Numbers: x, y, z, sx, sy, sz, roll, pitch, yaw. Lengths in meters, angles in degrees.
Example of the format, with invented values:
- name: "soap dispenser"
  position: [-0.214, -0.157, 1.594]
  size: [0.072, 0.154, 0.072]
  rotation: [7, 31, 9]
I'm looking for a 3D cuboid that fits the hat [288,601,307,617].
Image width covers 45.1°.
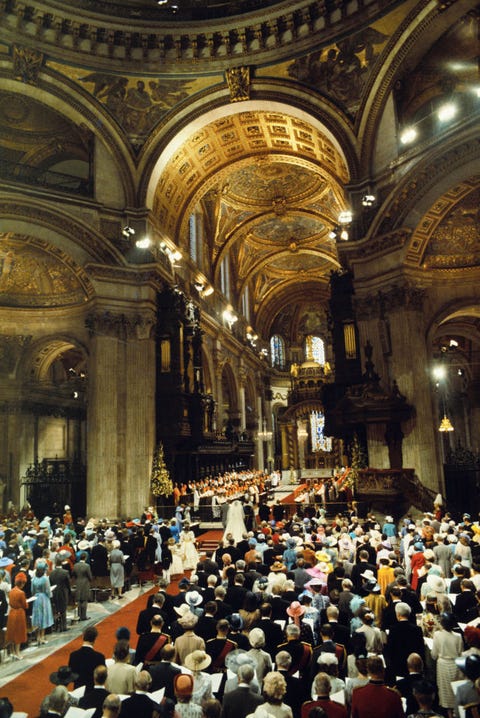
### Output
- name: "hat"
  position: [0.581, 2.627, 5.911]
  size: [0.228, 0.088, 0.249]
  rotation: [-1, -6, -1]

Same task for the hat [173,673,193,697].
- name: "hat"
  position: [-0.400, 2.359, 4.120]
  size: [0.113, 0.150, 0.206]
  rotation: [-1, -10, -12]

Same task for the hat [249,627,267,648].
- name: "hat"
  position: [0.152, 2.448, 4.975]
  size: [0.115, 0.172, 0.107]
  rotation: [-7, -10, 20]

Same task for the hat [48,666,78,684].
- name: "hat"
  position: [-1.344, 2.438, 4.389]
  size: [0.166, 0.088, 0.228]
  rotation: [12, -7, 9]

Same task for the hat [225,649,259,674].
- name: "hat"
  position: [0.007, 2.546, 4.831]
  size: [0.273, 0.114, 0.311]
  rotation: [1, -6, 26]

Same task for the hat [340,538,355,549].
- name: "hat"
  position: [1.813, 3.176, 9.827]
  size: [0.202, 0.087, 0.200]
  rotation: [0, -11, -7]

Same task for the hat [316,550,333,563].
- name: "hat"
  position: [1.342, 3.146, 8.995]
  size: [0.225, 0.072, 0.226]
  rotation: [8, -3, -43]

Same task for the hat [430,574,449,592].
- name: "hat"
  position: [2.228, 2.542, 6.464]
  size: [0.195, 0.083, 0.217]
  rotation: [-2, 18, 5]

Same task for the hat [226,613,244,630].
- name: "hat"
  position: [-0.037, 2.558, 5.565]
  size: [0.114, 0.154, 0.211]
  rotation: [-2, -10, -9]

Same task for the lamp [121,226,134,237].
- name: "lamp"
  position: [-4.263, -4.877, 21.869]
  size: [0.416, 0.414, 0.398]
  rotation: [5, 13, -6]

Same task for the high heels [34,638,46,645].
- name: "high heels"
  position: [-3.065, 4.400, 8.899]
  size: [0.073, 0.094, 0.239]
  rotation: [1, -11, 4]
